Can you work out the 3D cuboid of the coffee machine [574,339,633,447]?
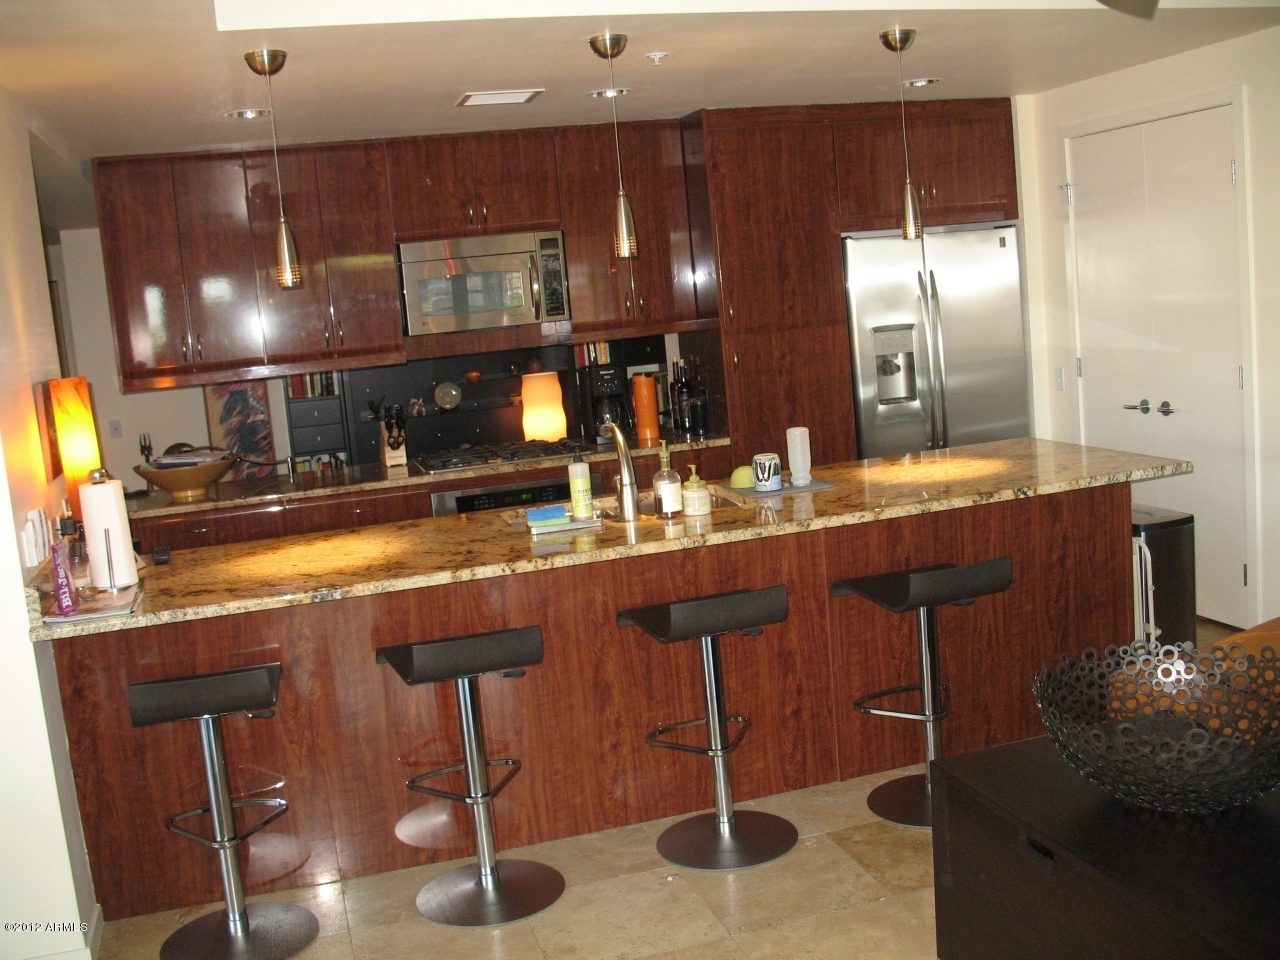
[{"bbox_3d":[-0.213,-0.557,6.283,0.377,0.561,0.343,-6,9,-10],"label":"coffee machine"}]

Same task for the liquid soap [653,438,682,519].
[{"bbox_3d":[0.100,-0.006,3.896,0.103,0.277,0.155,-10,10,0],"label":"liquid soap"}]

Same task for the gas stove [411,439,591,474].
[{"bbox_3d":[-0.798,-0.153,5.834,0.964,0.073,0.632,-8,9,-10],"label":"gas stove"}]

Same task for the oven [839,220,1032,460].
[{"bbox_3d":[1.955,-0.669,6.157,1.056,1.504,0.720,-3,4,34],"label":"oven"}]

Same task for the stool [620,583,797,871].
[{"bbox_3d":[0.264,0.823,3.619,0.590,0.957,0.450,-12,11,-15],"label":"stool"}]

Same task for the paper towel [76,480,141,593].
[{"bbox_3d":[-1.772,0.181,3.413,0.165,0.372,0.184,-15,12,-26],"label":"paper towel"}]

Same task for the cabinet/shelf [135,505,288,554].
[{"bbox_3d":[-2.176,0.245,5.208,0.564,0.295,0.297,-4,12,-22],"label":"cabinet/shelf"}]

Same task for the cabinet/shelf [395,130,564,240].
[{"bbox_3d":[-0.999,-1.568,5.884,1.196,0.591,0.587,1,-6,13],"label":"cabinet/shelf"}]

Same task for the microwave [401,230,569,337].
[{"bbox_3d":[-0.728,-1.116,5.939,1.112,0.557,0.603,2,10,28],"label":"microwave"}]

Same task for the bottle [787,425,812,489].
[{"bbox_3d":[0.656,-0.108,4.251,0.094,0.226,0.320,-8,9,8],"label":"bottle"}]

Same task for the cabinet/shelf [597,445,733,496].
[{"bbox_3d":[0.111,-0.052,4.909,0.324,0.239,0.093,-2,8,-11],"label":"cabinet/shelf"}]

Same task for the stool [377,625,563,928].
[{"bbox_3d":[-0.560,0.932,3.430,0.568,0.975,0.472,-12,11,-15],"label":"stool"}]

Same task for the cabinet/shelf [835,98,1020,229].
[{"bbox_3d":[1.773,-1.858,6.046,0.381,0.661,1.221,-25,25,-34],"label":"cabinet/shelf"}]

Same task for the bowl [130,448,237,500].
[{"bbox_3d":[-2.302,-0.045,5.227,0.367,0.138,0.343,-1,11,0],"label":"bowl"}]

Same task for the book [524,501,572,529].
[{"bbox_3d":[-0.336,0.132,3.797,0.162,0.072,0.170,-8,9,-5],"label":"book"}]

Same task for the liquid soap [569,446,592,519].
[{"bbox_3d":[-0.233,0.025,3.881,0.098,0.223,0.219,-11,10,-5],"label":"liquid soap"}]

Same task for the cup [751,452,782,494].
[{"bbox_3d":[0.513,-0.035,4.149,0.113,0.142,0.179,-8,9,6],"label":"cup"}]

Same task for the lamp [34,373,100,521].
[{"bbox_3d":[-2.111,-0.110,3.840,0.202,0.560,0.553,-15,12,-26],"label":"lamp"}]
